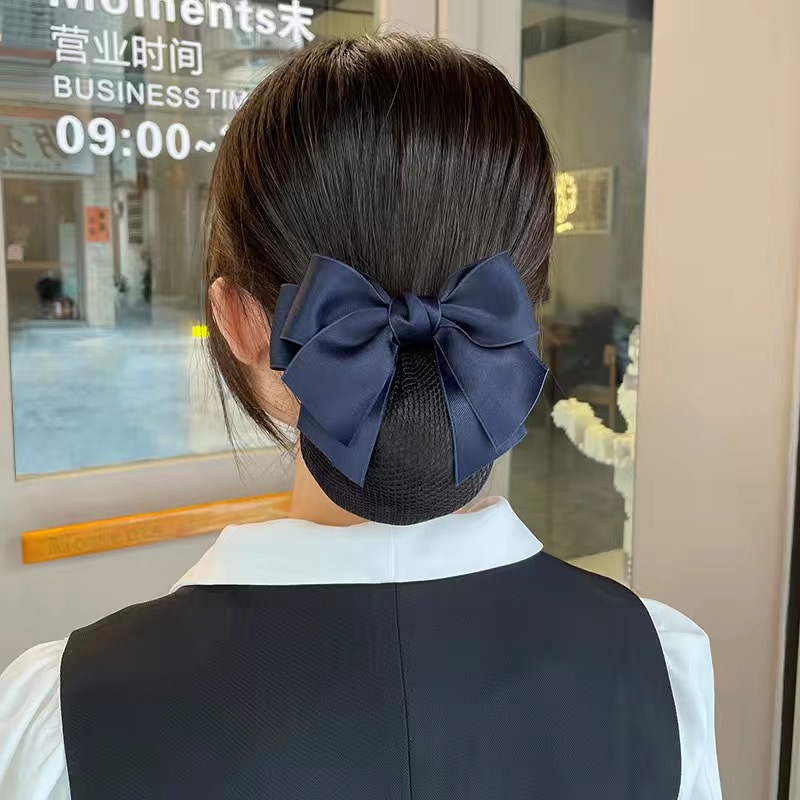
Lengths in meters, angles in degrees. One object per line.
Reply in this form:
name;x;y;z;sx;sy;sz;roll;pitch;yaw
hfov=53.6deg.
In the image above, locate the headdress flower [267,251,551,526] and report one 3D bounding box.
headdress flower;0.006;-0.037;0.660;0.207;0.164;0.269;0;31;-11
